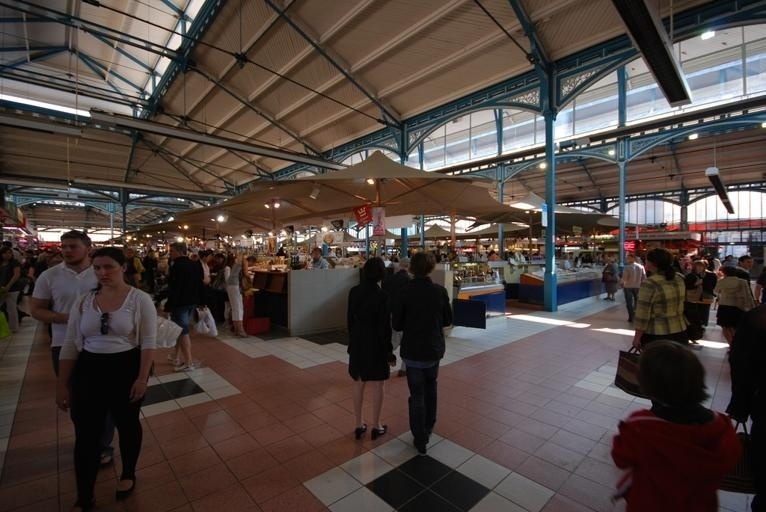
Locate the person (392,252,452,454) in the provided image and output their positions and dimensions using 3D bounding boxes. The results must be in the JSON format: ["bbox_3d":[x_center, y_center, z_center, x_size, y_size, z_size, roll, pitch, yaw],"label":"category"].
[{"bbox_3d":[0.605,1.466,7.065,0.896,3.021,0.299,-2,0,2],"label":"person"}]

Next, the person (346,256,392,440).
[{"bbox_3d":[-0.207,1.441,7.282,0.706,2.737,0.452,-2,0,-2],"label":"person"}]

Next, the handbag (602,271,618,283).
[{"bbox_3d":[7.633,0.702,15.400,0.433,0.290,0.443,-3,-4,43],"label":"handbag"}]

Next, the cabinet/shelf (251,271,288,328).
[{"bbox_3d":[-2.818,1.118,11.277,0.611,0.913,1.378,3,-6,-37],"label":"cabinet/shelf"}]

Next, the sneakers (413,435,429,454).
[{"bbox_3d":[0.585,2.846,7.012,0.228,0.307,0.161,-2,0,-5],"label":"sneakers"}]

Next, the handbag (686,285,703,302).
[{"bbox_3d":[6.910,0.831,10.100,0.387,0.330,0.285,13,-20,-21],"label":"handbag"}]

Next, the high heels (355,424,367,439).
[{"bbox_3d":[-0.374,2.775,7.232,0.120,0.113,0.291,-1,-1,7],"label":"high heels"}]

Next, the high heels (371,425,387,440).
[{"bbox_3d":[-0.079,2.781,7.249,0.135,0.116,0.300,-1,0,37],"label":"high heels"}]

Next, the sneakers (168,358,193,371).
[{"bbox_3d":[-3.988,2.122,8.934,0.386,0.127,0.207,4,0,13],"label":"sneakers"}]
